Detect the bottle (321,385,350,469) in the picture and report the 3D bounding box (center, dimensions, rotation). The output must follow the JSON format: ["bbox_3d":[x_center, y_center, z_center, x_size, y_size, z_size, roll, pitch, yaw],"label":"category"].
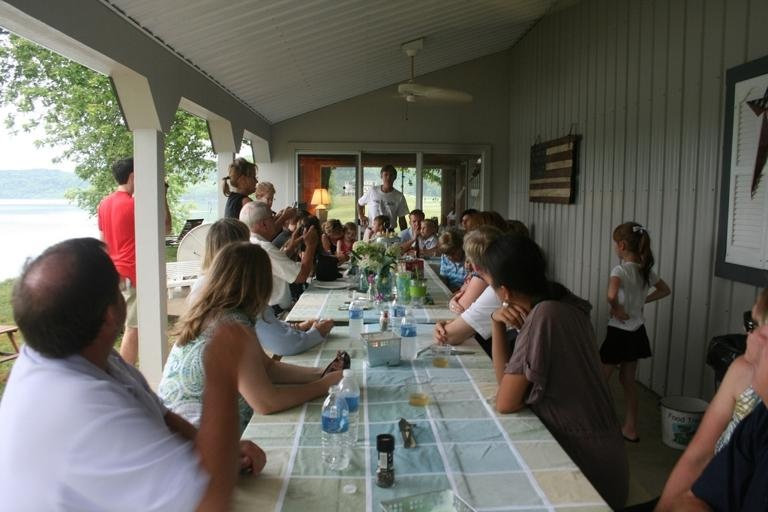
[{"bbox_3d":[-0.180,0.622,1.885,0.109,0.251,0.279,2,7,-4],"label":"bottle"}]

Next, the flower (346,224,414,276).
[{"bbox_3d":[-0.070,-0.035,4.167,0.366,0.295,0.420,-7,4,1],"label":"flower"}]

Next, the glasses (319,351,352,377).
[{"bbox_3d":[-0.227,0.507,2.344,0.067,0.086,0.210,-3,-1,16],"label":"glasses"}]

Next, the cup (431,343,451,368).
[{"bbox_3d":[0.306,0.538,2.647,0.079,0.090,0.085,0,-3,0],"label":"cup"}]

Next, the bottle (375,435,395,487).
[{"bbox_3d":[0.007,0.697,1.753,0.064,0.170,0.147,3,7,0],"label":"bottle"}]

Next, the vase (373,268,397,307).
[{"bbox_3d":[0.008,0.257,3.997,0.214,0.405,0.229,0,-9,1],"label":"vase"}]
